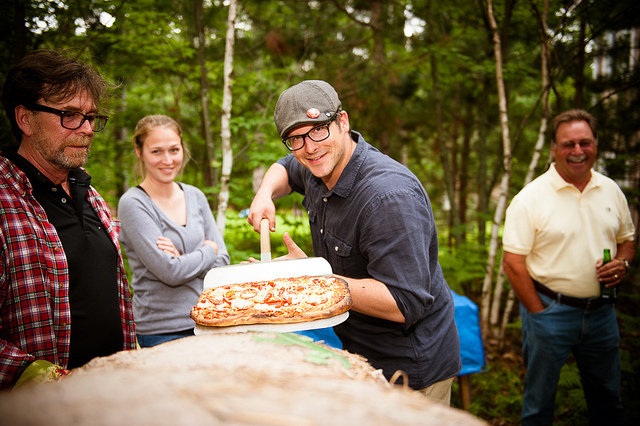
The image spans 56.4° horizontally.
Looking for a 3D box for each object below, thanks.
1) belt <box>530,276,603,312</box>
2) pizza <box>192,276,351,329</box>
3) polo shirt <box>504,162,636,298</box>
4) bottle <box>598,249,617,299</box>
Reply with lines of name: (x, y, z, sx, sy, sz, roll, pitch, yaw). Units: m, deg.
belt: (2.717, 0.942, 6.567, 0.395, 0.101, 0.377, 21, -2, 29)
pizza: (-0.438, 0.805, 5.461, 1.045, 0.124, 0.607, -3, 14, 4)
polo shirt: (2.727, 0.188, 6.705, 1.239, 1.443, 0.464, 3, 6, 17)
bottle: (3.112, 0.670, 6.447, 0.182, 0.527, 0.148, 4, 6, 25)
